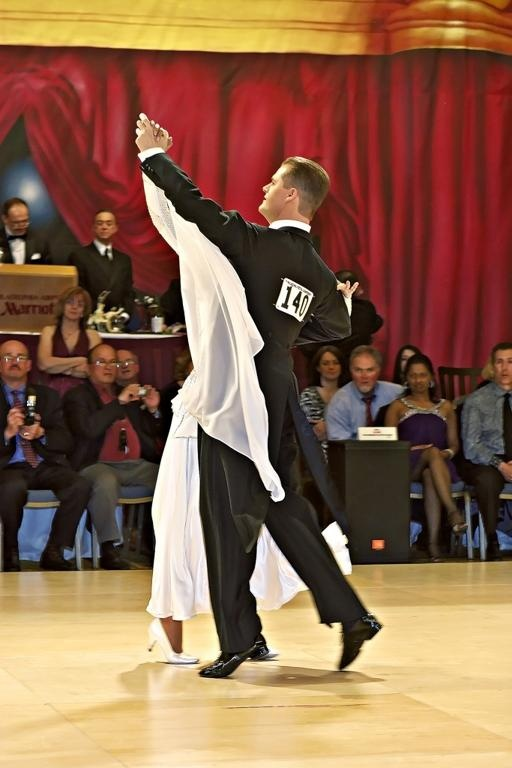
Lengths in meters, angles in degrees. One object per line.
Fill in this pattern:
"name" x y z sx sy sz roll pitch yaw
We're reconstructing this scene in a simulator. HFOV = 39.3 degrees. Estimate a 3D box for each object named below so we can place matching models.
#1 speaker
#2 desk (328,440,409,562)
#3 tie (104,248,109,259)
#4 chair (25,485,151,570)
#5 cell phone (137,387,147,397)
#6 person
"speaker" 0.938 0.806 4.851 0.685 0.805 0.647 2 -9 -18
"desk" 0.723 0.790 4.884 0.610 0.807 0.621 3 -5 -39
"tie" -1.529 -1.327 7.278 0.034 0.093 0.040 3 0 -15
"chair" -0.994 0.905 4.754 0.831 0.354 0.499 1 -9 -7
"cell phone" -0.794 0.053 4.972 0.060 0.071 0.078 2 0 7
"person" -0.027 0.062 2.143 0.668 1.578 0.536 0 -4 -16
